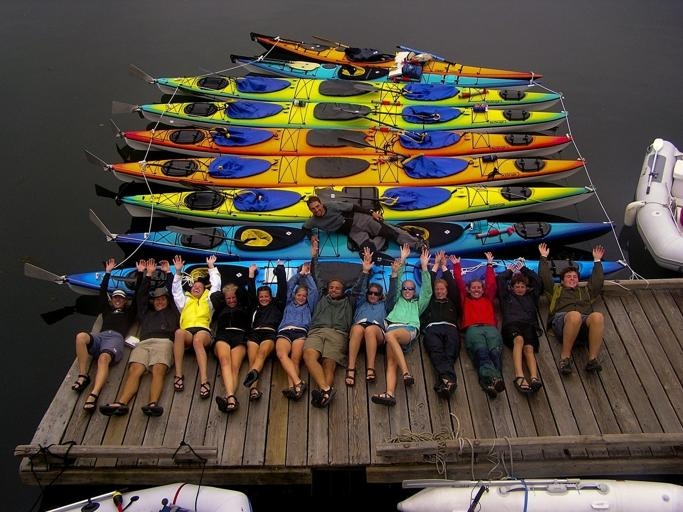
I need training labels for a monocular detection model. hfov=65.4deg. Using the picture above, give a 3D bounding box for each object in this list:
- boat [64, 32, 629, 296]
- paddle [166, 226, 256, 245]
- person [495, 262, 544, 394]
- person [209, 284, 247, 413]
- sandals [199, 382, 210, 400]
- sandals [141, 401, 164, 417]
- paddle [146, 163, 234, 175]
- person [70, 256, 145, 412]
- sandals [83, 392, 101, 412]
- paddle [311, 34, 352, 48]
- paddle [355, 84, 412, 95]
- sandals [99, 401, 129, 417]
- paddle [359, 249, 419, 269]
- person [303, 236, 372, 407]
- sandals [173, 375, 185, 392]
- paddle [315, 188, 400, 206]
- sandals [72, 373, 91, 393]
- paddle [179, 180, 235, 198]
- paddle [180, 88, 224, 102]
[{"bbox_3d":[0.137,-2.060,16.228,16.852,5.515,8.322,-2,23,-8],"label":"boat"},{"bbox_3d":[-3.253,-0.533,13.742,3.903,0.318,0.387,2,-1,-9],"label":"paddle"},{"bbox_3d":[3.641,1.351,10.782,0.717,1.976,1.288,8,17,14],"label":"person"},{"bbox_3d":[-2.138,1.674,10.548,0.804,1.078,2.634,2,49,-13],"label":"person"},{"bbox_3d":[-2.541,2.562,10.128,0.144,0.131,0.355,4,48,-9],"label":"sandals"},{"bbox_3d":[-3.505,2.843,9.858,0.531,0.167,0.212,3,4,23],"label":"sandals"},{"bbox_3d":[-4.135,-2.467,15.205,2.031,0.430,0.386,0,31,14],"label":"paddle"},{"bbox_3d":[-4.706,1.449,10.940,0.948,0.844,2.891,13,66,-5],"label":"person"},{"bbox_3d":[-4.652,2.779,10.056,0.166,0.117,0.415,13,53,-31],"label":"sandals"},{"bbox_3d":[-0.329,-7.964,19.741,1.874,0.284,0.233,16,38,4],"label":"paddle"},{"bbox_3d":[1.362,-5.387,17.204,1.597,0.099,0.363,6,49,1],"label":"paddle"},{"bbox_3d":[-4.039,2.815,9.813,0.628,0.203,0.227,4,6,-22],"label":"sandals"},{"bbox_3d":[1.238,0.023,13.046,1.415,0.515,0.366,-8,52,15],"label":"paddle"},{"bbox_3d":[-0.098,1.359,10.562,1.483,1.151,2.939,4,59,12],"label":"person"},{"bbox_3d":[-3.059,2.438,10.218,0.142,0.100,0.340,5,40,-13],"label":"sandals"},{"bbox_3d":[0.451,-1.658,14.392,2.453,0.387,0.693,1,53,-2],"label":"paddle"},{"bbox_3d":[-4.946,2.441,10.282,0.192,0.176,0.478,1,6,-7],"label":"sandals"},{"bbox_3d":[-3.705,-1.994,14.891,1.576,0.379,0.542,0,30,13],"label":"paddle"},{"bbox_3d":[-4.494,-5.392,17.734,1.534,0.300,0.379,8,-1,1],"label":"paddle"}]
